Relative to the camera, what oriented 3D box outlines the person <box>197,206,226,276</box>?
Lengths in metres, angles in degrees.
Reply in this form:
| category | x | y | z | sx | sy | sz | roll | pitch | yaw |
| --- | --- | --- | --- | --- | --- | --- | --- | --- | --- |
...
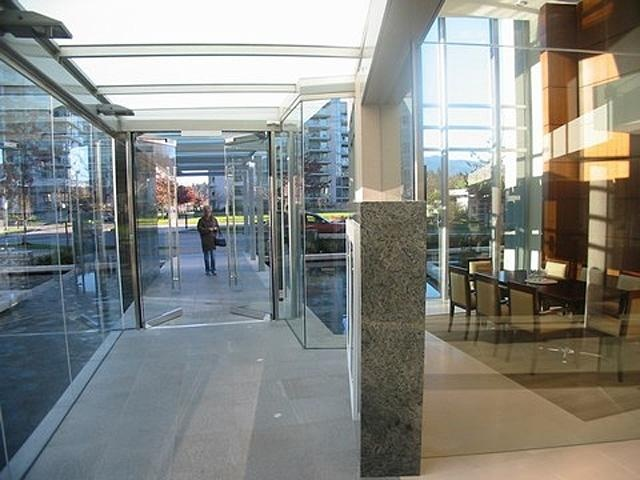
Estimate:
| category | x | y | z | sx | sy | sz | roll | pitch | yaw |
| --- | --- | --- | --- | --- | --- | --- | --- | --- | --- |
| person | -2.403 | 0.061 | 10.588 | 0.553 | 1.592 | 1.398 | -3 | 12 | -12 |
